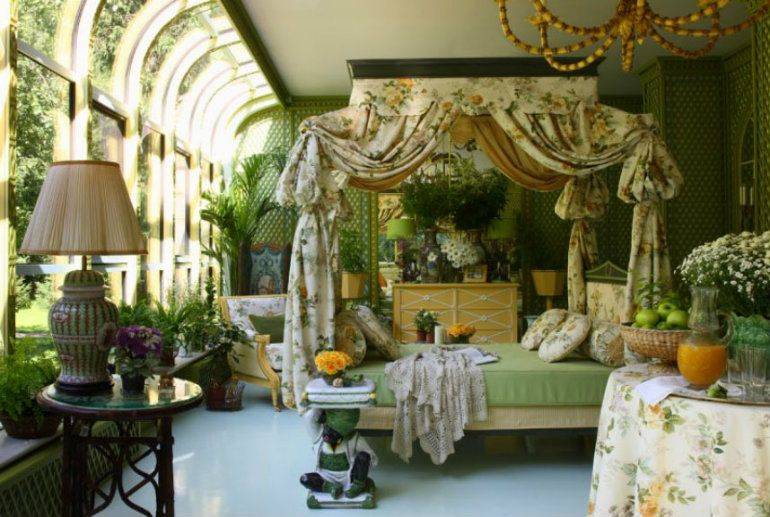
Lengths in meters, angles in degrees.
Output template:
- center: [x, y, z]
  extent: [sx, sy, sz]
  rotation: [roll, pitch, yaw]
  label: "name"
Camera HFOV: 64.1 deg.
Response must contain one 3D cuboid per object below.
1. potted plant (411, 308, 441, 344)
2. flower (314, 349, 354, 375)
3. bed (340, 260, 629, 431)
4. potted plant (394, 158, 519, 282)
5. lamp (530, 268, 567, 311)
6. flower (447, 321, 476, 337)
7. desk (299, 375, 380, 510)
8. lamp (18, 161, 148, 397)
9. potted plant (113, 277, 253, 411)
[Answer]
- center: [0.541, 0.883, 7.979]
  extent: [0.334, 0.449, 0.421]
  rotation: [-4, -6, 29]
  label: "potted plant"
- center: [-0.438, 0.879, 5.267]
  extent: [0.235, 0.152, 0.237]
  rotation: [-4, 4, -30]
  label: "flower"
- center: [1.075, 0.758, 7.084]
  extent: [2.595, 1.294, 3.305]
  rotation: [0, 8, -1]
  label: "bed"
- center: [0.782, -0.623, 9.590]
  extent: [1.620, 2.333, 1.795]
  rotation: [3, -3, -40]
  label: "potted plant"
- center: [2.518, 0.471, 9.473]
  extent: [0.544, 0.615, 0.596]
  rotation: [-1, -1, 5]
  label: "lamp"
- center: [0.891, 0.836, 7.177]
  extent: [0.251, 0.164, 0.243]
  rotation: [-2, 1, -43]
  label: "flower"
- center: [-0.382, 1.606, 5.576]
  extent: [0.831, 1.258, 0.915]
  rotation: [0, -4, -1]
  label: "desk"
- center: [-2.125, 0.125, 4.395]
  extent: [0.770, 1.636, 0.321]
  rotation: [0, 8, -3]
  label: "lamp"
- center: [-2.262, 0.959, 7.224]
  extent: [1.511, 1.562, 1.237]
  rotation: [0, 1, -4]
  label: "potted plant"
